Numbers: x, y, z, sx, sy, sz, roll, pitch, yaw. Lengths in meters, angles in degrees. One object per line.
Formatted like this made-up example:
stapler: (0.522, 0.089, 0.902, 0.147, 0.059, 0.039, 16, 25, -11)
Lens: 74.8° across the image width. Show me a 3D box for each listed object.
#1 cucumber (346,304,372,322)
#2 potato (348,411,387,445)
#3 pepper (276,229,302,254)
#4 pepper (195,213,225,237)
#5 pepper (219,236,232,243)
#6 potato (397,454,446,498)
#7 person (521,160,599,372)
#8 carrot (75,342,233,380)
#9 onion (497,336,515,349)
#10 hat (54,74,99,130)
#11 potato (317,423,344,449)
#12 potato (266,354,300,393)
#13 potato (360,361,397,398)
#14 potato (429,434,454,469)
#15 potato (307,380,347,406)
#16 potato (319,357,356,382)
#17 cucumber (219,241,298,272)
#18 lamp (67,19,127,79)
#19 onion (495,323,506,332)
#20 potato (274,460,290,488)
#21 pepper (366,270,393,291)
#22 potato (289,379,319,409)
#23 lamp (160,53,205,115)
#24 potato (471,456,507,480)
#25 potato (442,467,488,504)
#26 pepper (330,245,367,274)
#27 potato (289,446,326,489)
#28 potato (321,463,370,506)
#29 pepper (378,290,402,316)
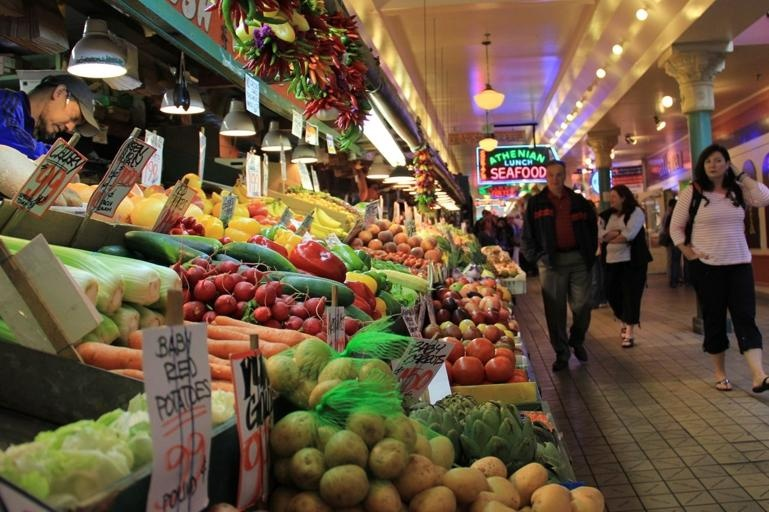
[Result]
cucumber: (-0.137, 0.305, 2.663, 0.111, 0.059, 0.210, -3, 3, 8)
potato: (-0.052, 0.536, 1.552, 0.103, 0.081, 0.076, 17, -47, -4)
pepper: (-0.625, -0.109, 3.298, 0.154, 0.129, 0.172, 18, -17, -5)
pepper: (-1.077, -0.183, 3.155, 0.141, 0.178, 0.142, 2, -9, -1)
pepper: (-0.920, -0.088, 2.909, 0.052, 0.053, 0.052, -1, -5, -44)
potato: (0.112, 0.652, 1.540, 0.106, 0.113, 0.123, 1, 7, 11)
person: (1.985, 0.094, 5.671, 0.794, 2.329, 0.414, -3, 2, 14)
carrot: (-0.791, 0.335, 1.779, 0.516, 0.097, 0.096, 1, 11, -26)
onion: (0.834, 0.606, 3.499, 0.077, 0.088, 0.074, -39, -7, -6)
hat: (-2.902, -1.441, 4.699, 0.312, 0.475, 0.237, 1, 21, 8)
potato: (-0.165, 0.548, 1.535, 0.059, 0.072, 0.058, 8, -40, -31)
potato: (-0.338, 0.390, 1.702, 0.092, 0.118, 0.099, -22, -40, 40)
potato: (-0.024, 0.408, 1.679, 0.074, 0.100, 0.113, -21, 2, -3)
potato: (0.190, 0.653, 1.726, 0.055, 0.104, 0.101, -27, -46, 8)
potato: (-0.180, 0.429, 1.602, 0.076, 0.054, 0.097, -23, 22, 46)
potato: (-0.154, 0.379, 1.661, 0.081, 0.030, 0.082, -6, 11, -3)
cucumber: (-0.674, -0.001, 2.786, 0.496, 0.147, 0.152, 12, 13, -10)
lamp: (-2.466, -1.831, 4.333, 0.437, 0.504, 0.427, -2, 3, 37)
onion: (0.882, 0.547, 3.852, 0.075, 0.092, 0.076, -6, -3, 7)
potato: (-0.301, 0.642, 1.486, 0.079, 0.064, 0.025, -1, 4, 42)
pepper: (-0.043, 0.171, 3.395, 0.100, 0.085, 0.140, 24, -10, 31)
potato: (-0.271, 0.455, 1.661, 0.062, 0.083, 0.097, 31, 29, -8)
lamp: (-2.256, -1.776, 5.573, 0.414, 0.776, 0.534, 2, 9, 25)
potato: (0.351, 0.719, 1.728, 0.091, 0.068, 0.120, -9, -10, 14)
potato: (0.254, 0.709, 1.610, 0.113, 0.087, 0.105, 16, -5, -5)
pepper: (-0.248, 0.017, 3.563, 0.147, 0.117, 0.266, 33, 9, -8)
potato: (-0.220, 0.608, 1.438, 0.104, 0.105, 0.104, -6, -16, 2)
potato: (-0.112, 0.642, 1.468, 0.122, 0.103, 0.160, 1, 8, 3)
pepper: (0.042, 0.321, 3.309, 0.148, 0.076, 0.119, 32, 9, -23)
